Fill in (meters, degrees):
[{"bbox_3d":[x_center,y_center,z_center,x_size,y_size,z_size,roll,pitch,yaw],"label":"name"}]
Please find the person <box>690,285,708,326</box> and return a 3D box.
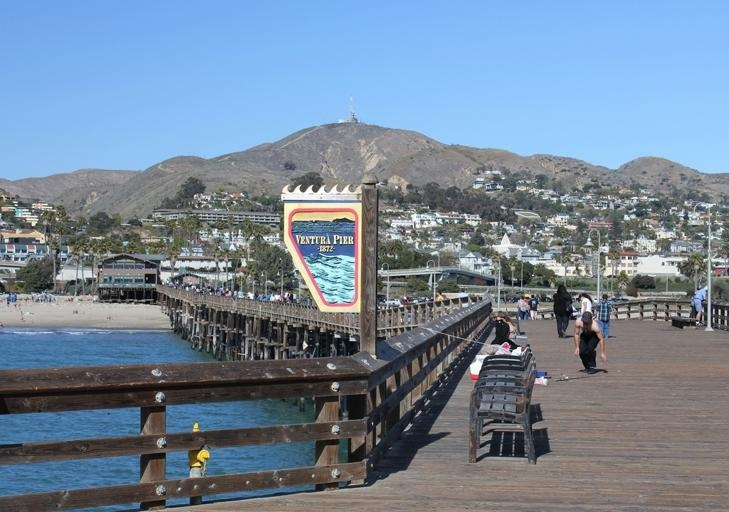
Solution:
[{"bbox_3d":[11.637,1.720,40.892,0.506,1.296,4.211,1,1,15],"label":"person"}]
